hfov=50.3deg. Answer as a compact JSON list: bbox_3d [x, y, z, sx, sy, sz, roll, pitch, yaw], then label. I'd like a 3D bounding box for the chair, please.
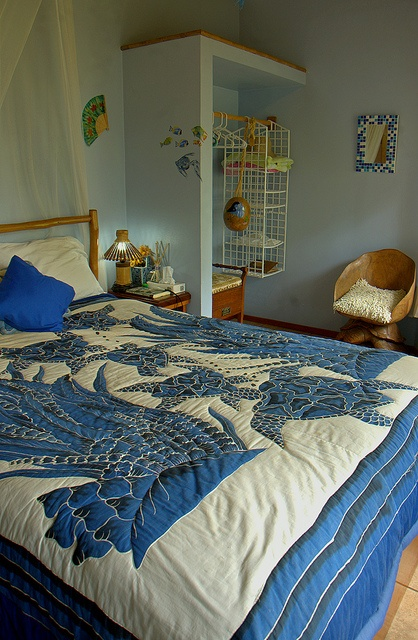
[{"bbox_3d":[1.421,-0.159,3.724,0.603,0.858,0.588,15,24,37],"label":"chair"}]

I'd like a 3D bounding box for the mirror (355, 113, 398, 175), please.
[{"bbox_3d":[1.502,-1.566,3.942,0.456,0.632,0.034,15,24,38],"label":"mirror"}]
